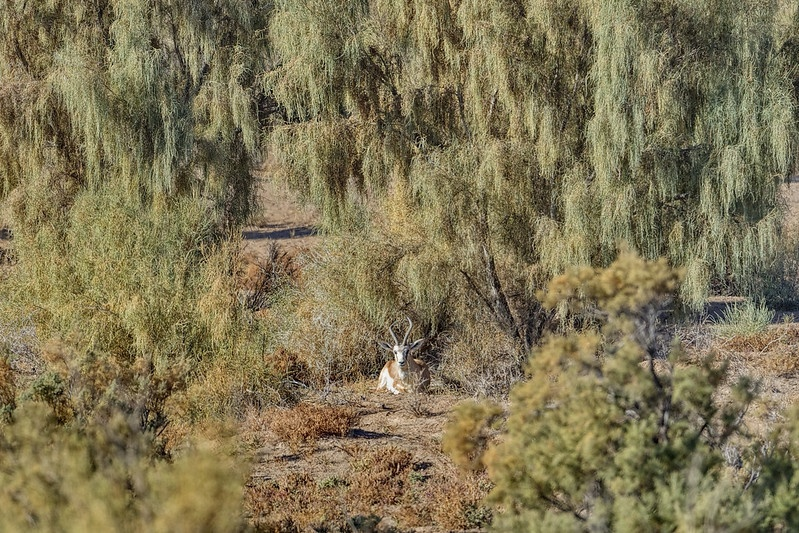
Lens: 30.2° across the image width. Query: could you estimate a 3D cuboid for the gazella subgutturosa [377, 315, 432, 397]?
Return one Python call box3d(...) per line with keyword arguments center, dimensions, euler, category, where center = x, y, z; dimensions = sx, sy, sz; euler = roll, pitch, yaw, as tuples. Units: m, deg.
box3d(center=(0.062, 1.503, 22.953), dimensions=(0.516, 1.414, 1.180), euler=(-2, -5, 0), category="gazella subgutturosa")
